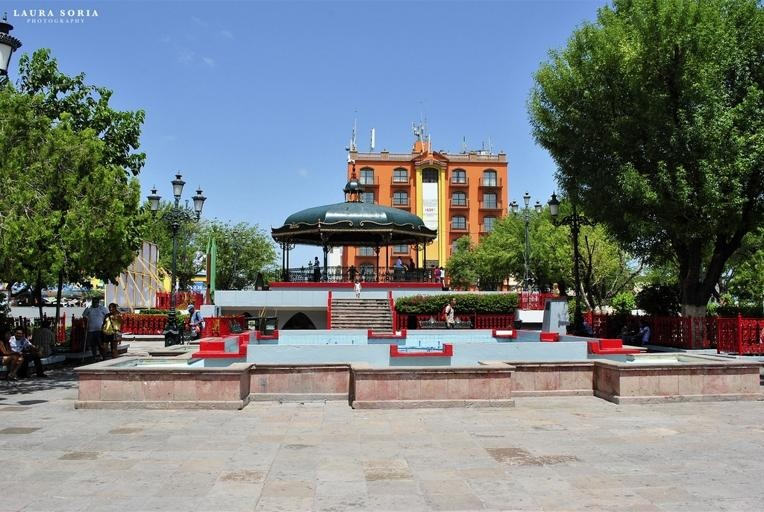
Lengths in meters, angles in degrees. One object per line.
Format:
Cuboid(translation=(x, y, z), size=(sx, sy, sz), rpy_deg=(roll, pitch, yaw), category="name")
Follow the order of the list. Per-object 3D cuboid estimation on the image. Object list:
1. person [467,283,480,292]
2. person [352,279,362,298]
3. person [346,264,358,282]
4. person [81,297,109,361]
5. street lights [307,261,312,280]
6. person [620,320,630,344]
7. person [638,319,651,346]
Cuboid(translation=(8.923, 2.833, 67.793), size=(1.061, 0.773, 1.071), rpy_deg=(1, -6, -8), category="person")
Cuboid(translation=(-1.269, 1.608, 36.130), size=(0.347, 0.909, 0.263), rpy_deg=(-3, 37, -4), category="person")
Cuboid(translation=(-1.712, 0.905, 39.081), size=(0.773, 1.322, 0.388), rpy_deg=(0, -3, -6), category="person")
Cuboid(translation=(-9.458, 2.345, 22.975), size=(0.619, 2.176, 1.181), rpy_deg=(-1, 3, -28), category="person")
Cuboid(translation=(-3.917, 0.852, 38.231), size=(0.327, 0.800, 0.260), rpy_deg=(2, 3, 36), category="street lights")
Cuboid(translation=(10.347, 3.217, 29.571), size=(0.295, 0.762, 1.184), rpy_deg=(1, 2, 18), category="person")
Cuboid(translation=(10.817, 3.100, 28.590), size=(0.432, 0.875, 1.124), rpy_deg=(1, 2, 21), category="person")
